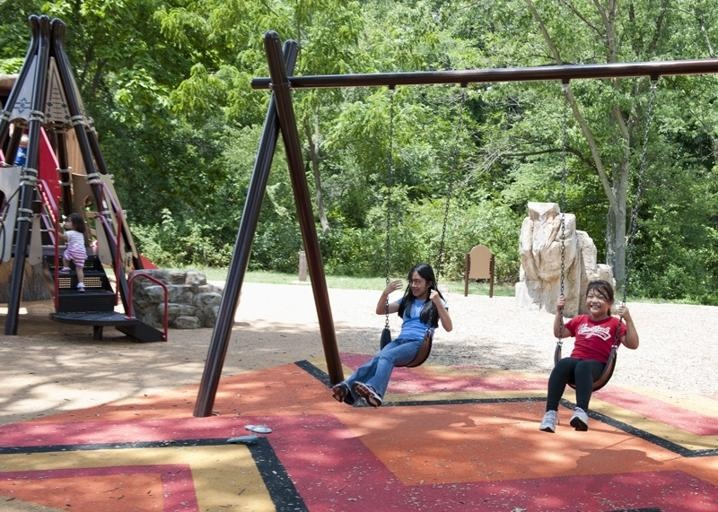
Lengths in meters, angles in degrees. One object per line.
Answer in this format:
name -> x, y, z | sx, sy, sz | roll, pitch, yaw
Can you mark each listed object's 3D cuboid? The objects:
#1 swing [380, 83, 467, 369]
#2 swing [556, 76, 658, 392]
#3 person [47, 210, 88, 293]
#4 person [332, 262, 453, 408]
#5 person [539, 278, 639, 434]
swing -> 1.955, -1.395, 20.968 | 1.576, 9.521, 1.600 | 2, 8, -6
swing -> 6.116, -1.072, 16.918 | 1.200, 7.909, 1.430 | 4, 7, 4
person -> -4.489, -0.053, 11.181 | 0.591, 1.206, 0.670 | 14, 6, 44
person -> 0.450, 0.803, 7.496 | 0.814, 1.202, 1.293 | 3, 1, 25
person -> 2.305, 0.972, 7.066 | 0.918, 1.462, 0.978 | -1, -10, 41
